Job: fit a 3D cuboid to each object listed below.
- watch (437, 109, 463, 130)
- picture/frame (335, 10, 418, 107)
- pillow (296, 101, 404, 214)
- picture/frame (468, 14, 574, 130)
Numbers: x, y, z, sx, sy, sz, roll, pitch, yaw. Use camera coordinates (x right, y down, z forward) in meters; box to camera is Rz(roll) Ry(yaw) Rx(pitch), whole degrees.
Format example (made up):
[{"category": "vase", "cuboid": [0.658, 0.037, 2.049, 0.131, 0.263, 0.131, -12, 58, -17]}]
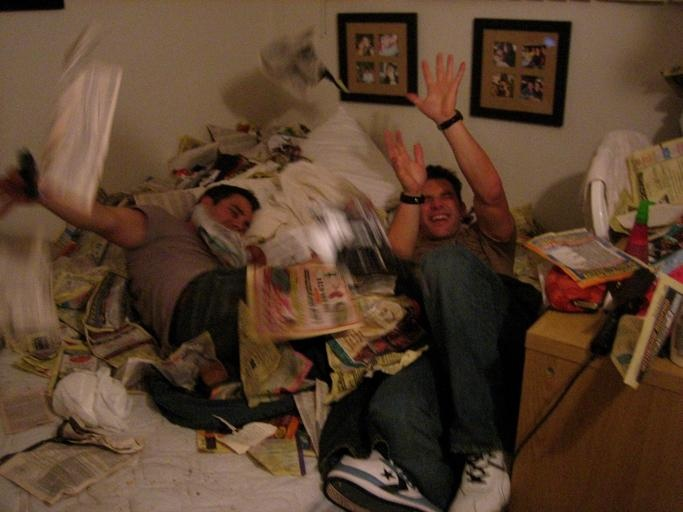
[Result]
[{"category": "watch", "cuboid": [0.218, -0.267, 1.093, 0.046, 0.017, 0.034, -36, 3, 3]}, {"category": "picture/frame", "cuboid": [0.071, -0.391, 1.066, 0.179, 0.183, 0.014, 0, 11, 0]}, {"category": "pillow", "cuboid": [0.019, -0.193, 1.078, 0.192, 0.196, 0.090, 0, 12, -3]}, {"category": "picture/frame", "cuboid": [0.360, -0.383, 1.123, 0.219, 0.222, 0.014, 3, 20, -3]}]
